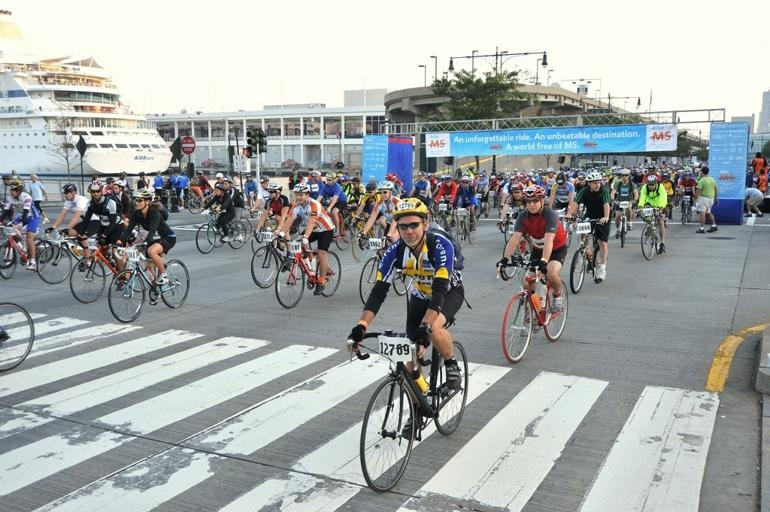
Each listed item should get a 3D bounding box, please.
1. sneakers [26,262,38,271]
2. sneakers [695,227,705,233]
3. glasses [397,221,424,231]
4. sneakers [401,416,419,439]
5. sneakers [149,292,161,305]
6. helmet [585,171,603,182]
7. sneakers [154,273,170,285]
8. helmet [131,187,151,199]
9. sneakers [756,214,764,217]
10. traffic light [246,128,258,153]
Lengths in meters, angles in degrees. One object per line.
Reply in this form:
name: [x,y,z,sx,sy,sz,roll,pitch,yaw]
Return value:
sneakers: [-9.232,0.247,16.480,0.244,0.274,0.572,0,-1,-31]
sneakers: [12.418,-1.047,24.822,0.213,0.254,0.382,-11,14,-41]
glasses: [0.276,-0.361,7.308,0.255,0.103,0.065,3,15,13]
sneakers: [0.287,1.922,7.036,0.169,0.101,0.247,8,23,27]
sneakers: [-4.729,0.867,12.908,0.170,0.246,0.197,11,30,0]
helmet: [4.981,-1.884,14.918,0.220,0.293,0.290,-3,-4,-6]
sneakers: [-4.491,0.464,12.753,0.116,0.225,0.346,-5,-12,30]
helmet: [-4.758,-1.241,12.404,0.240,0.145,0.347,13,11,3]
sneakers: [18.707,-2.069,31.389,0.164,0.208,0.495,-4,-2,42]
traffic light: [-5.993,-5.292,28.519,0.325,1.105,1.266,-5,15,-15]
